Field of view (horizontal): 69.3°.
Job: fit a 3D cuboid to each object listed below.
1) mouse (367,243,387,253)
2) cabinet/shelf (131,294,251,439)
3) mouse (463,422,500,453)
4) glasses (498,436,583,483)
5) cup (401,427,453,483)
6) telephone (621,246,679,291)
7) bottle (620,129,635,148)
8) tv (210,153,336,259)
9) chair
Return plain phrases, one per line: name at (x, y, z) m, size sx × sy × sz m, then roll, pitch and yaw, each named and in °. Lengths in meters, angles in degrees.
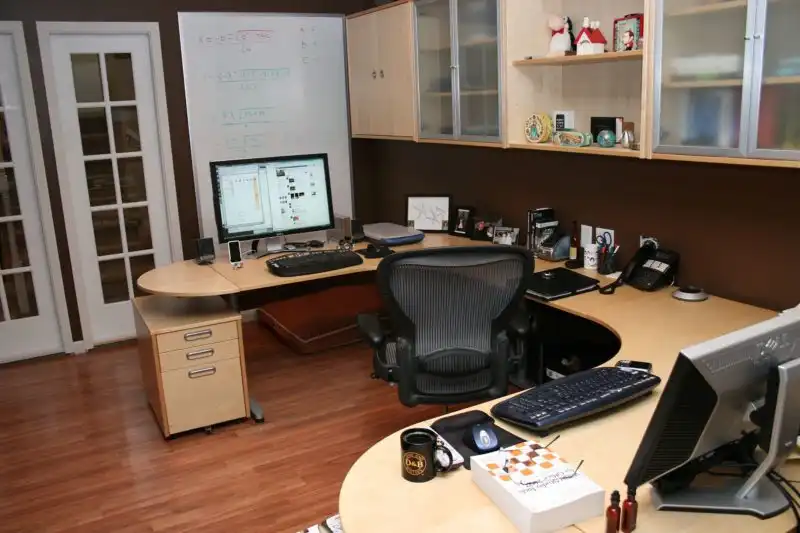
mouse at (-0.161, -0.131, 4.225) m, size 0.090 × 0.024 × 0.087 m, roll -13°, pitch 26°, yaw -38°
cabinet/shelf at (-1.489, 0.638, 4.073) m, size 0.601 × 0.748 × 0.856 m, roll -10°, pitch 18°, yaw -33°
mouse at (0.319, 0.667, 2.217) m, size 0.093 × 0.044 × 0.120 m, roll -4°, pitch 11°, yaw -8°
glasses at (0.473, 0.685, 2.058) m, size 0.150 × 0.037 × 0.148 m, roll -5°, pitch 12°, yaw -24°
cup at (0.099, 0.725, 2.146) m, size 0.204 × 0.138 × 0.126 m, roll -2°, pitch -8°, yaw 17°
telephone at (1.567, 0.027, 3.577) m, size 0.328 × 0.090 × 0.246 m, roll -34°, pitch 25°, yaw -16°
bottle at (1.333, -0.753, 3.400) m, size 0.072 × 0.107 × 0.100 m, roll -1°, pitch 16°, yaw 18°
tv at (-0.988, -0.453, 4.305) m, size 0.966 × 0.714 × 0.314 m, roll -13°, pitch 17°, yaw -40°
chair at (0.243, 0.413, 3.307) m, size 0.954 × 1.223 × 0.885 m, roll -3°, pitch 14°, yaw -6°
